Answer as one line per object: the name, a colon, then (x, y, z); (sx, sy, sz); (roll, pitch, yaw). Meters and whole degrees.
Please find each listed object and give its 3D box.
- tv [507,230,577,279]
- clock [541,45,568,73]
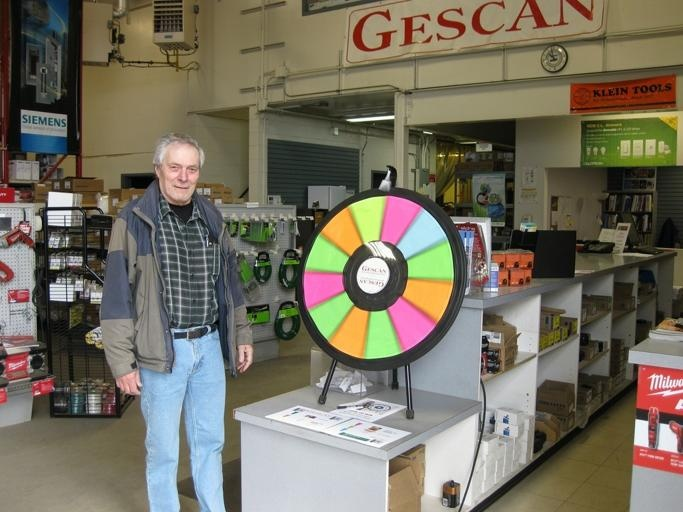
tv: (1.521, -0.027, 4.173); (0.526, 0.435, 0.295); (-2, 3, -36)
clock: (2.782, -2.557, 7.215); (0.049, 0.411, 0.353); (0, 1, -43)
